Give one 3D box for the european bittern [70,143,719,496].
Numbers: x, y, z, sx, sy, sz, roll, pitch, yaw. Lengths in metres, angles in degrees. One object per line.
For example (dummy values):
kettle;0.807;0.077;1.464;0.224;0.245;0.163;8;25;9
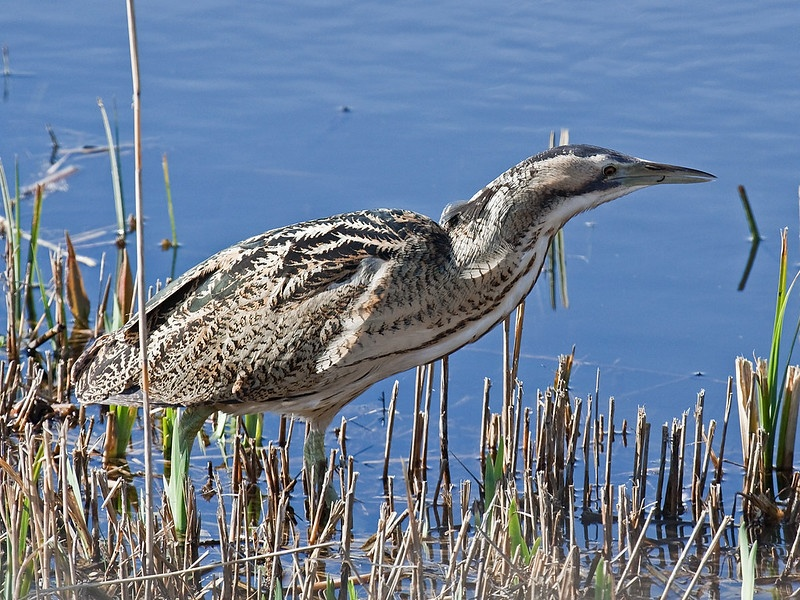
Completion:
european bittern;-0.129;0.143;6.980;3.236;1.681;0.961;-1;7;15
